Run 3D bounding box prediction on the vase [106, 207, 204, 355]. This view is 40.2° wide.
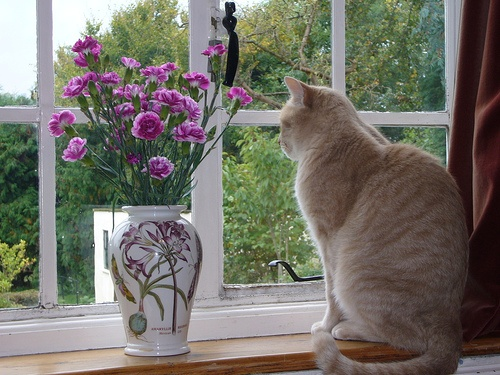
[{"bbox_3d":[-0.267,0.267,2.057,0.264,0.439,0.252,0,-2,-7],"label":"vase"}]

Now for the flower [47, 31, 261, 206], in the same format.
[{"bbox_3d":[-0.300,-0.196,2.074,0.589,0.525,0.430,-4,5,-16],"label":"flower"}]
